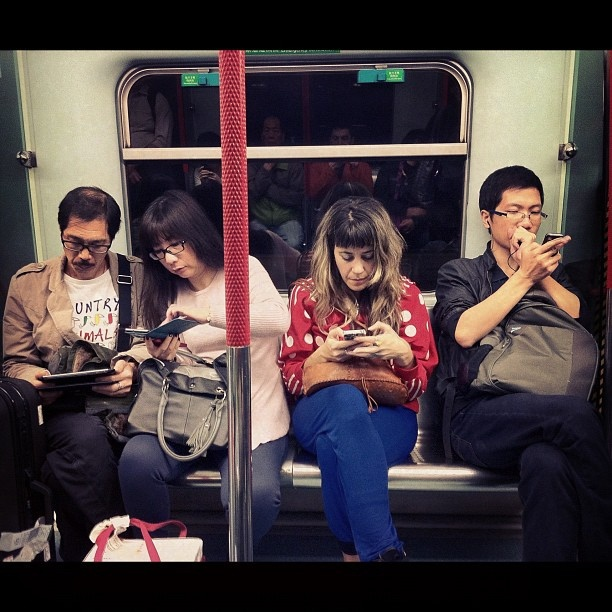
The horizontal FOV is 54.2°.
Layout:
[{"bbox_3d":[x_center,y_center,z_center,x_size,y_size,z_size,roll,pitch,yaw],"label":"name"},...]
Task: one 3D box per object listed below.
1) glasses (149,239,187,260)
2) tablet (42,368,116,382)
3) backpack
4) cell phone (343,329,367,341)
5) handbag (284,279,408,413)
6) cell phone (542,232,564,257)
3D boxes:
[{"bbox_3d":[-0.531,-0.216,2.299,0.089,0.028,0.091,-19,17,37],"label":"glasses"},{"bbox_3d":[-0.789,0.238,2.078,0.287,0.033,0.222,-2,-4,26],"label":"tablet"},{"bbox_3d":[0.802,0.177,2.236,0.445,0.319,0.474,0,44,18],"label":"backpack"},{"bbox_3d":[0.157,0.095,1.996,0.072,0.050,0.068,2,13,2],"label":"cell phone"},{"bbox_3d":[0.043,0.159,2.245,0.392,0.428,0.149,3,-29,4],"label":"handbag"},{"bbox_3d":[0.986,-0.248,2.398,0.112,0.071,0.012,-14,2,11],"label":"cell phone"}]
